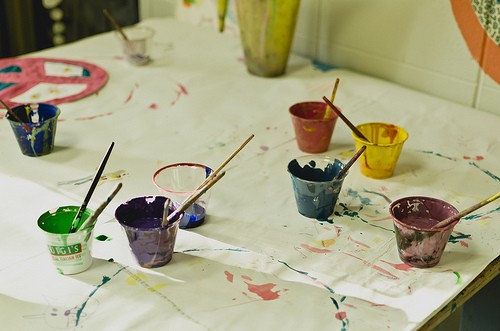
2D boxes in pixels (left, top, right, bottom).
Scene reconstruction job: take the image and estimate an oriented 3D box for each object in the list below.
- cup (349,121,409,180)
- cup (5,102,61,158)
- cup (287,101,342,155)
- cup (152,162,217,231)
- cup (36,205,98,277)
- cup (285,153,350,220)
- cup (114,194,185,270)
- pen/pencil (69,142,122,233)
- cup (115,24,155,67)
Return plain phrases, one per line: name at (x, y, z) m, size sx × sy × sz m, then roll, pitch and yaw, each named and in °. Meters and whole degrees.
cup at (0.372, -0.037, 1.536) m, size 0.173 × 0.123 × 0.166 m, roll -1°, pitch 30°, yaw 0°
cup at (-0.640, -0.105, 1.598) m, size 0.174 × 0.128 × 0.163 m, roll 3°, pitch 33°, yaw -2°
cup at (0.189, -0.112, 1.564) m, size 0.168 × 0.120 × 0.156 m, roll 0°, pitch 29°, yaw 0°
cup at (-0.169, 0.060, 1.352) m, size 0.171 × 0.126 × 0.163 m, roll -3°, pitch 34°, yaw 2°
cup at (-0.418, 0.176, 1.251) m, size 0.160 × 0.141 × 0.155 m, roll 1°, pitch 35°, yaw -1°
cup at (0.171, 0.049, 1.349) m, size 0.172 × 0.125 × 0.163 m, roll 0°, pitch 27°, yaw 0°
cup at (-0.235, 0.151, 1.211) m, size 0.177 × 0.125 × 0.165 m, roll -1°, pitch 30°, yaw 1°
pen/pencil at (-0.409, 0.066, 1.368) m, size 0.030 × 0.265 × 0.029 m, roll 28°, pitch -8°, yaw -16°
cup at (-0.447, -0.468, 2.131) m, size 0.190 × 0.143 × 0.184 m, roll -1°, pitch 30°, yaw 0°
